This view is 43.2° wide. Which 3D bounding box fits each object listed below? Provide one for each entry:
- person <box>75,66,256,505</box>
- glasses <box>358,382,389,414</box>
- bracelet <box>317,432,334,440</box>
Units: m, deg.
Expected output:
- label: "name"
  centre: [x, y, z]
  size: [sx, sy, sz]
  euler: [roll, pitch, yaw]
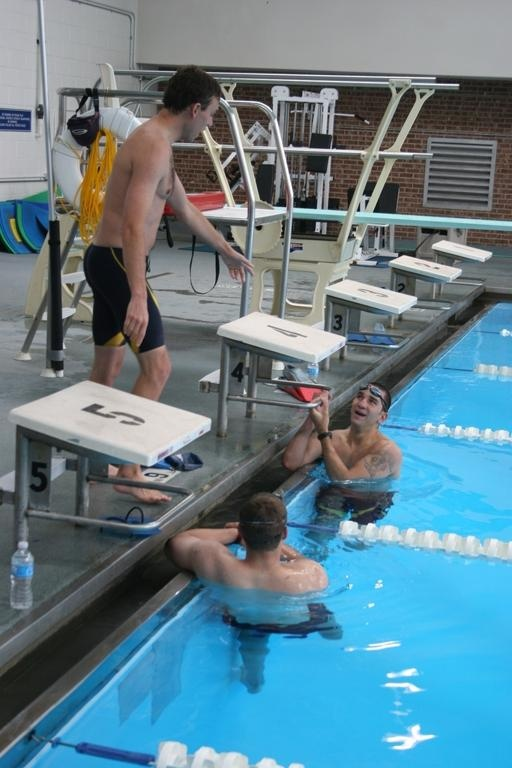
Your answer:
- label: "person"
  centre: [-0.403, -0.393, 2.355]
  size: [0.453, 1.584, 0.969]
  euler: [6, 12, 7]
- label: "glasses"
  centre: [0.574, 0.077, 3.115]
  size: [0.123, 0.055, 0.152]
  euler: [31, -14, 35]
- label: "bracelet"
  centre: [0.337, 0.244, 3.069]
  size: [0.056, 0.034, 0.056]
  euler: [-3, -7, -16]
